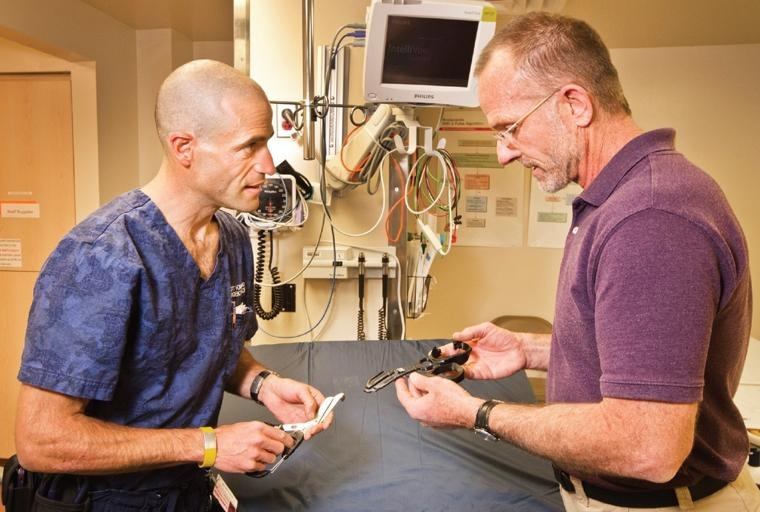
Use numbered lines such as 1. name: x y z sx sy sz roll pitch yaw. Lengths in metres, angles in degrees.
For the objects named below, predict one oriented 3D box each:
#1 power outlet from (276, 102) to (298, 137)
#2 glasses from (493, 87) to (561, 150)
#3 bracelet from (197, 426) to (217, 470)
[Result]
1. power outlet: -0.520 -0.763 3.671 0.113 0.205 0.021 -2 27 -11
2. glasses: 0.490 -0.458 2.186 0.044 0.153 0.147 34 16 -15
3. bracelet: -0.589 0.670 2.304 0.046 0.144 0.144 13 -1 -9
